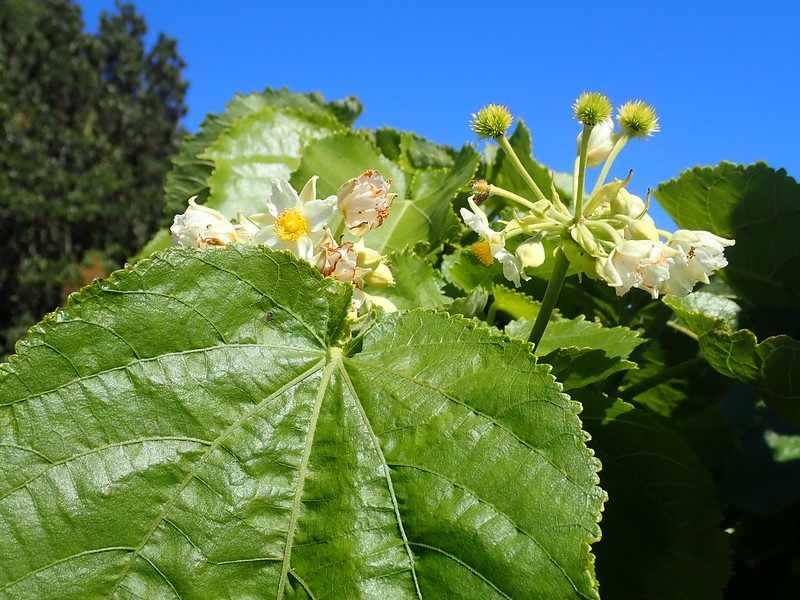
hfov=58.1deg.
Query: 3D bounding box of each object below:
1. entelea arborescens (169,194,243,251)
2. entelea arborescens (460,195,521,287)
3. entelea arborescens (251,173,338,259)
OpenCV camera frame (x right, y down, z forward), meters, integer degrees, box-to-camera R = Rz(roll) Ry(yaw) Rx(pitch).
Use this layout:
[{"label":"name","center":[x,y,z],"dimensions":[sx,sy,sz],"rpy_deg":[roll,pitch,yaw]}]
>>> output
[{"label":"entelea arborescens","center":[-0.550,-0.200,2.005],"dimensions":[0.195,0.106,0.154],"rpy_deg":[28,28,28]},{"label":"entelea arborescens","center":[0.254,-0.173,2.037],"dimensions":[0.208,0.201,0.211],"rpy_deg":[20,8,5]},{"label":"entelea arborescens","center":[-0.301,-0.222,1.997],"dimensions":[0.094,0.250,0.280],"rpy_deg":[53,-8,15]}]
